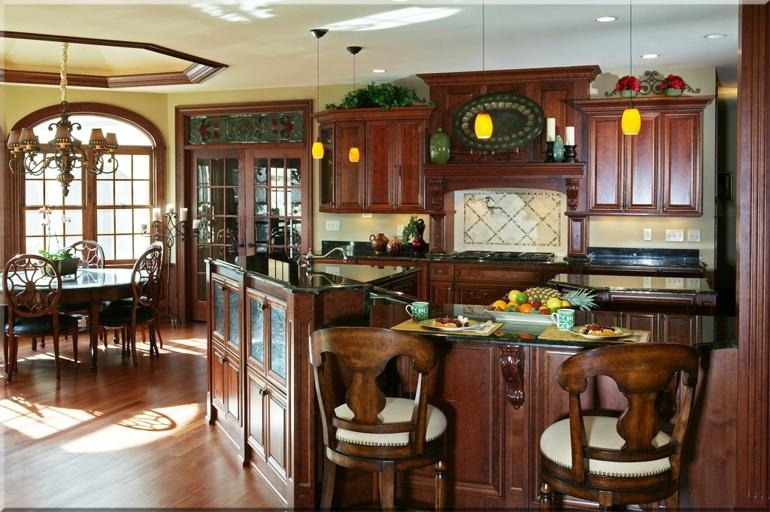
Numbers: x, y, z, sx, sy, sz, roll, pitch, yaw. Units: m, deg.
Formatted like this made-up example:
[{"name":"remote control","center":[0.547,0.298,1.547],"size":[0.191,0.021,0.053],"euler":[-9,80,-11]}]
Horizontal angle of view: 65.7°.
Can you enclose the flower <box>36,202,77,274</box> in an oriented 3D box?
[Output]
[{"name":"flower","center":[-3.810,-0.160,6.935],"size":[0.477,0.697,0.431],"euler":[2,-5,-23]}]

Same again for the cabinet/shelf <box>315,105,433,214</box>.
[{"name":"cabinet/shelf","center":[-0.120,-1.223,7.796],"size":[1.720,1.306,0.568],"euler":[5,9,30]}]

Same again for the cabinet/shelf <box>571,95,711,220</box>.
[{"name":"cabinet/shelf","center":[2.932,-1.126,6.687],"size":[1.639,1.242,0.437],"euler":[0,0,12]}]

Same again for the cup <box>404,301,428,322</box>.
[{"name":"cup","center":[0.203,0.363,3.958],"size":[0.157,0.098,0.095],"euler":[1,3,15]}]

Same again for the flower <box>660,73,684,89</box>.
[{"name":"flower","center":[3.228,-1.938,6.618],"size":[0.206,0.167,0.162],"euler":[8,13,40]}]

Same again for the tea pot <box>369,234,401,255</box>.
[{"name":"tea pot","center":[0.009,-0.158,7.722],"size":[0.345,0.186,0.282],"euler":[2,1,18]}]

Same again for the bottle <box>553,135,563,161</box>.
[{"name":"bottle","center":[1.993,-1.239,6.832],"size":[0.139,0.238,0.076],"euler":[3,7,19]}]

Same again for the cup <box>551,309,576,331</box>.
[{"name":"cup","center":[1.107,0.390,3.715],"size":[0.160,0.126,0.097],"euler":[1,1,20]}]

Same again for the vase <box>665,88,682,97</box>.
[{"name":"vase","center":[3.216,-1.798,6.582],"size":[0.119,0.063,0.112],"euler":[-4,8,-22]}]

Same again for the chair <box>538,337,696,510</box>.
[{"name":"chair","center":[1.271,0.956,3.217],"size":[0.852,1.141,0.474],"euler":[0,11,0]}]

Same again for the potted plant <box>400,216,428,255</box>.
[{"name":"potted plant","center":[0.410,-0.278,7.634],"size":[0.384,0.464,0.293],"euler":[2,6,19]}]

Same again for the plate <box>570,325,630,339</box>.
[{"name":"plate","center":[1.301,0.440,3.541],"size":[0.338,0.054,0.231],"euler":[-1,10,-3]}]

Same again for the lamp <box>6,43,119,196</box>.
[{"name":"lamp","center":[-4.110,-1.700,7.427],"size":[1.348,1.816,3.147],"euler":[-5,11,-24]}]

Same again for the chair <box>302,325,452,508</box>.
[{"name":"chair","center":[-0.034,1.006,3.520],"size":[0.823,1.355,0.546],"euler":[3,11,19]}]

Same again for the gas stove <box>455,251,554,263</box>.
[{"name":"gas stove","center":[1.442,-0.013,7.236],"size":[1.206,0.054,0.696],"euler":[2,10,14]}]
